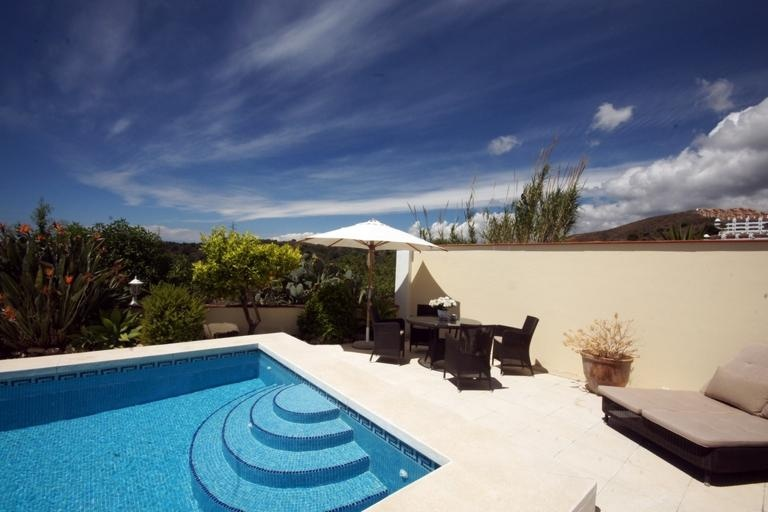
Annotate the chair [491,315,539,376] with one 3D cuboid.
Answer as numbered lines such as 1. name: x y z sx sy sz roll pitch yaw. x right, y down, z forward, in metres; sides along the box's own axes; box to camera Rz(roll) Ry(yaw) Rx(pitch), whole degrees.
1. chair: 3.247 2.112 9.498 0.936 1.188 0.913 2 0 15

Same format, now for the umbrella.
1. umbrella: -0.490 0.881 11.257 3.642 3.275 3.777 5 2 -9

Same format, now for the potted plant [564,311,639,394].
1. potted plant: 5.142 2.165 9.138 1.579 1.823 1.563 0 0 -14

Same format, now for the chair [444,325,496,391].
1. chair: 2.004 2.162 8.805 0.902 1.252 0.909 3 -3 2

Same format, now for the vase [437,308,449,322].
1. vase: 1.483 1.468 9.748 0.276 0.294 0.274 -3 7 -6

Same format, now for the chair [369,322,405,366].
1. chair: 0.147 2.136 9.929 0.814 1.035 0.882 -3 -14 21
